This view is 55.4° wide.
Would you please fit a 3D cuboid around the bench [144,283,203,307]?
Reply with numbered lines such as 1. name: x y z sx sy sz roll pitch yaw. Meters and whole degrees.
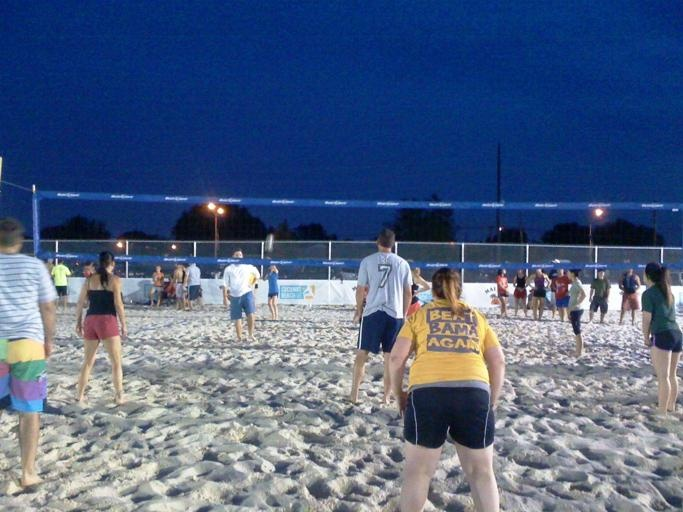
1. bench: -4.165 0.957 16.151 0.836 0.516 0.600 -2 -7 1
